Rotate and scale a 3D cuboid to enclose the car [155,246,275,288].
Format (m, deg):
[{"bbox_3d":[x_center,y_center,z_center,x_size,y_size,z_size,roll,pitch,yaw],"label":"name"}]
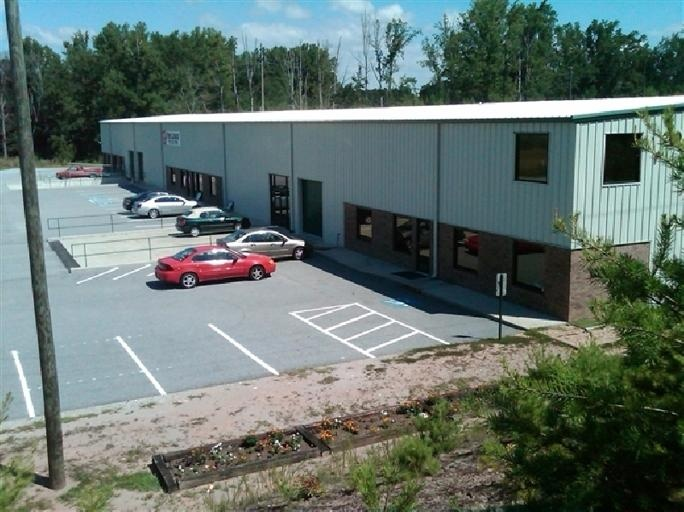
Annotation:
[{"bbox_3d":[-6.180,0.410,27.375,4.795,1.508,2.319,-9,18,-25],"label":"car"}]

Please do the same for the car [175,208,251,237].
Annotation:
[{"bbox_3d":[-8.922,-2.351,38.753,3.946,1.483,2.035,-9,18,-29],"label":"car"}]

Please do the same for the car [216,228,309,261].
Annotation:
[{"bbox_3d":[-4.243,-0.731,31.121,4.127,1.411,1.877,-4,15,-27],"label":"car"}]

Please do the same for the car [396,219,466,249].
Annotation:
[{"bbox_3d":[4.135,-1.239,29.231,2.161,1.005,1.423,-9,16,-27],"label":"car"}]
